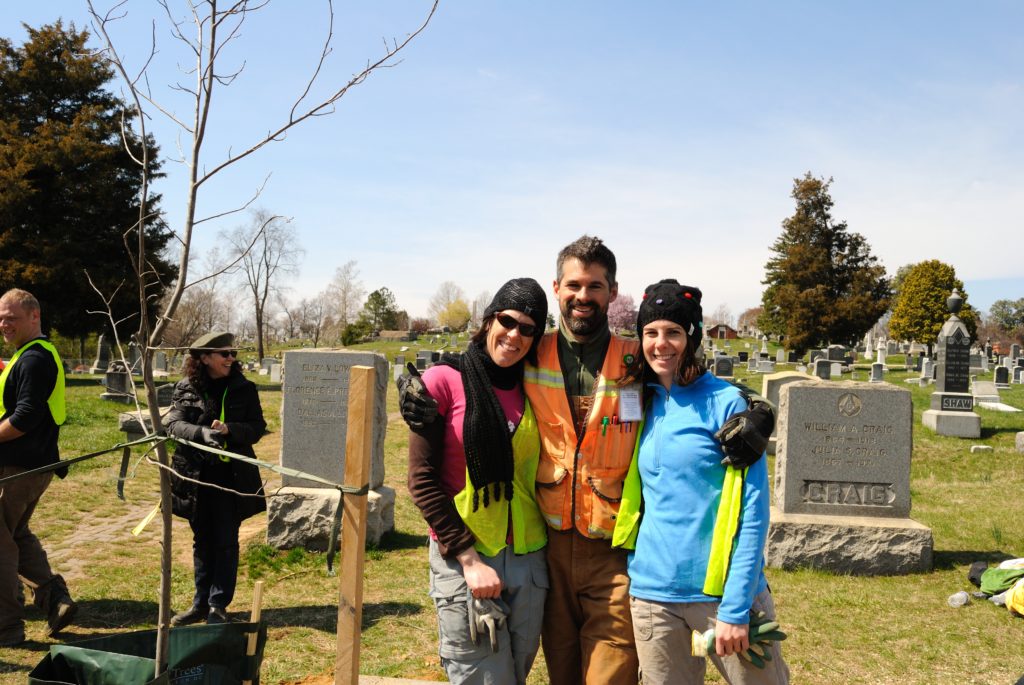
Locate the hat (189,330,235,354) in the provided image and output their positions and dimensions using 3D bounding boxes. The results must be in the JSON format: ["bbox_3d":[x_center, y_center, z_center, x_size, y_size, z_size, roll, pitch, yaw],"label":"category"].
[{"bbox_3d":[-3.020,0.004,8.058,0.404,0.210,0.601,4,-1,-21],"label":"hat"}]

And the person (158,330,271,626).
[{"bbox_3d":[-3.031,1.394,8.109,0.973,3.144,1.252,4,-1,-23],"label":"person"}]

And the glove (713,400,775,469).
[{"bbox_3d":[1.784,0.672,5.869,0.464,0.351,0.194,-39,28,-19],"label":"glove"}]

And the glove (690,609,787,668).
[{"bbox_3d":[1.789,2.185,5.862,0.538,0.279,0.260,-16,6,26],"label":"glove"}]

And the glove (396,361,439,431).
[{"bbox_3d":[-0.744,0.353,6.136,0.319,0.294,0.720,-2,24,3],"label":"glove"}]

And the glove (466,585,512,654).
[{"bbox_3d":[-0.181,2.144,5.889,0.122,0.334,0.370,-19,-6,-40],"label":"glove"}]

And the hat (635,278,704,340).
[{"bbox_3d":[1.289,-0.183,6.266,0.515,0.529,0.572,10,-10,11],"label":"hat"}]
